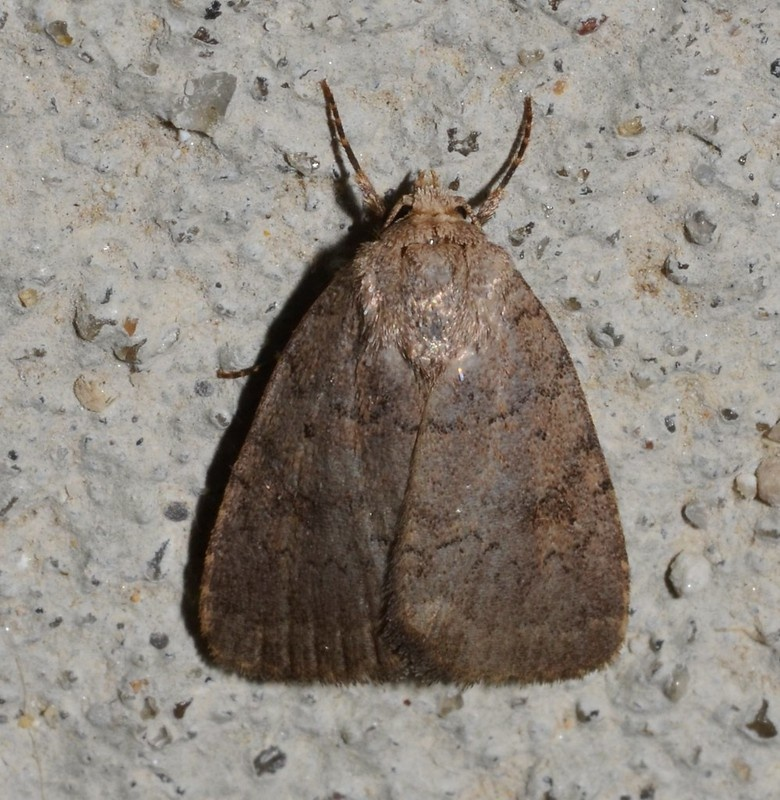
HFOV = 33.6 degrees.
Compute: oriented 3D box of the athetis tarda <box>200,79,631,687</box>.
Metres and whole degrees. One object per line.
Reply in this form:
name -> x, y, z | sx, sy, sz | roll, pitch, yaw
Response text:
athetis tarda -> 0.088, -0.040, 4.399 | 1.342, 1.557, 1.415 | 3, -56, -2
